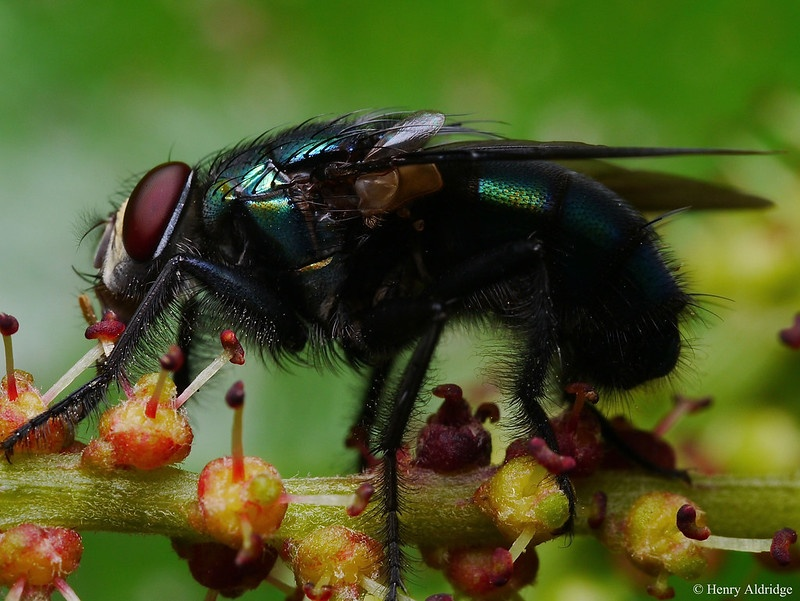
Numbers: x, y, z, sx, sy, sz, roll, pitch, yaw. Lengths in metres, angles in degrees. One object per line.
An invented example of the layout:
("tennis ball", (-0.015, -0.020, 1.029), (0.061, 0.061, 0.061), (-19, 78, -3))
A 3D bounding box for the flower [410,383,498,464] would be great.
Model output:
("flower", (0.124, 0.294, 2.043), (0.172, 0.201, 0.092), (4, -11, 3))

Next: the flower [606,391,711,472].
("flower", (0.689, 0.338, 2.323), (0.216, 0.204, 0.590), (0, -11, 21))

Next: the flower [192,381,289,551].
("flower", (-0.299, 0.331, 1.762), (0.190, 0.327, 0.289), (7, -11, -12))

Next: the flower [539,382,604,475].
("flower", (0.409, 0.304, 2.065), (0.118, 0.203, 0.220), (4, -10, 5))
